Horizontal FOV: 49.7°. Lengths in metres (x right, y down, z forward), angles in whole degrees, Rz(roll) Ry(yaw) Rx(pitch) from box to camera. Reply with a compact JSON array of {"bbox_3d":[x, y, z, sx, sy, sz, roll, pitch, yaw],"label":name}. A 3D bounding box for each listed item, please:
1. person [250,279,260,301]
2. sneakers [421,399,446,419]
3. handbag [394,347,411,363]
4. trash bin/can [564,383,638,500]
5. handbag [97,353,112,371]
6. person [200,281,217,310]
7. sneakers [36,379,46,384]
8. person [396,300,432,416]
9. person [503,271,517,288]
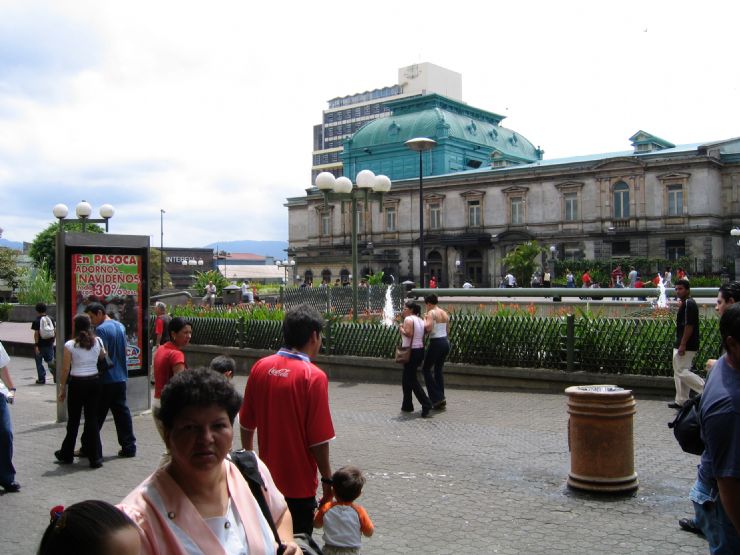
[{"bbox_3d":[-8.215,0.935,56.319,0.881,1.950,0.896,0,2,16],"label":"person"},{"bbox_3d":[1.059,2.234,13.272,0.500,0.249,0.182,6,-12,-38],"label":"sneakers"},{"bbox_3d":[0.531,1.285,12.924,0.241,0.262,0.248,-1,5,1],"label":"handbag"},{"bbox_3d":[2.610,1.830,9.062,0.766,1.193,0.870,-1,-2,-40],"label":"trash bin/can"},{"bbox_3d":[-3.510,1.135,10.468,0.087,0.244,0.221,-6,6,-31],"label":"handbag"},{"bbox_3d":[-8.414,0.964,41.324,0.838,2.212,0.836,0,-16,-10],"label":"person"},{"bbox_3d":[-7.405,2.378,17.872,0.243,0.120,0.088,-3,-2,2],"label":"sneakers"},{"bbox_3d":[0.740,1.324,13.186,0.498,1.911,0.758,-1,5,2],"label":"person"},{"bbox_3d":[9.025,0.266,50.893,0.716,0.873,1.238,-1,-8,6],"label":"person"}]
